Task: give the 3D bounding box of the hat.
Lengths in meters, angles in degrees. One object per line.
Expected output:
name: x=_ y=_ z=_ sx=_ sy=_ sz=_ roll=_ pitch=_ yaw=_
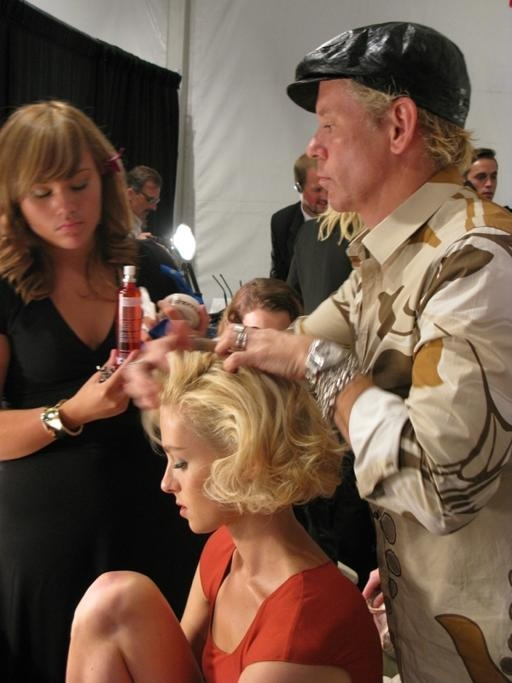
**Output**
hat: x=0.208 y=-0.454 z=1.106 sx=0.280 sy=0.121 sz=0.185 roll=15 pitch=22 yaw=2
